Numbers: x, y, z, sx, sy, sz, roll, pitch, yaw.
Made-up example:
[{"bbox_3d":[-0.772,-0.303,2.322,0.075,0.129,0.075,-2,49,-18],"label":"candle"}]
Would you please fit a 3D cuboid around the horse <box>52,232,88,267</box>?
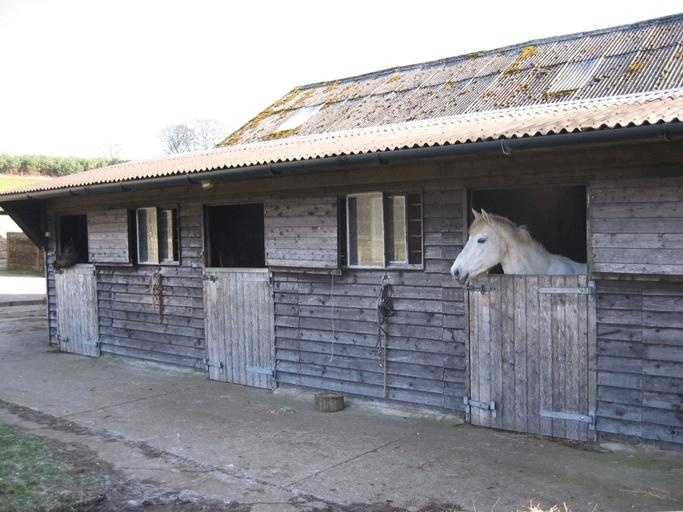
[{"bbox_3d":[-5.600,-0.083,13.334,0.567,0.621,0.911,-5,9,-24],"label":"horse"}]
